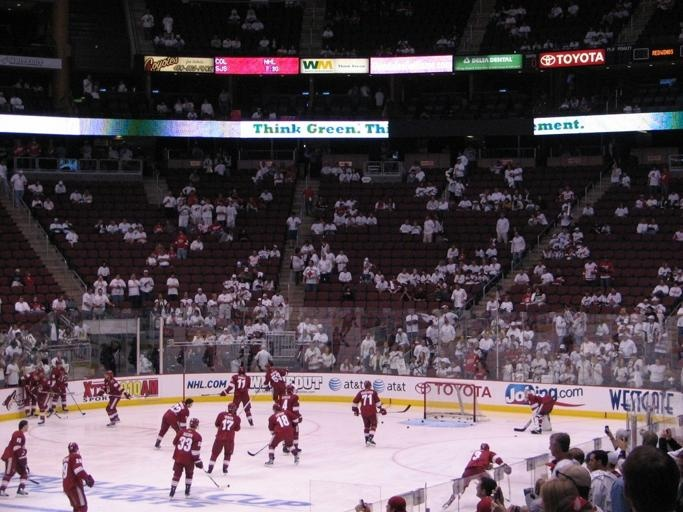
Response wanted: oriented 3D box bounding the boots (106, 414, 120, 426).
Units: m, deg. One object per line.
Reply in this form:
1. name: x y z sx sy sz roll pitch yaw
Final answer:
1. boots: -6.778 4.958 36.549 0.338 0.338 0.452 2 -9 -13

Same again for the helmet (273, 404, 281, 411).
1. helmet: -1.677 4.080 32.684 0.224 0.232 0.405 1 -9 -6

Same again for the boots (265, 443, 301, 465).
1. boots: -1.560 5.334 32.539 0.690 0.573 0.547 4 -12 -25

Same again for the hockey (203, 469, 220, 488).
1. hockey: -3.340 5.798 31.558 0.101 0.618 0.090 -29 -4 -5

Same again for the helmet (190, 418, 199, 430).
1. helmet: -3.665 4.266 30.817 0.182 0.262 0.255 1 -23 -3

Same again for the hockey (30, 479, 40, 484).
1. hockey: -7.786 5.780 31.154 0.253 0.152 0.749 2 -10 -15

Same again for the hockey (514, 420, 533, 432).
1. hockey: 5.302 4.982 35.604 0.525 0.338 0.845 -2 -10 9

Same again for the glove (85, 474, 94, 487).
1. glove: -5.921 5.292 28.774 0.204 0.301 0.417 2 -9 -12

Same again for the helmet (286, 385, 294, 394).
1. helmet: -1.363 3.692 33.603 0.197 0.211 0.171 -1 -1 23

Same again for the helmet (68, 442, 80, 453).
1. helmet: -6.282 4.544 28.800 0.185 0.220 0.303 3 -10 -22

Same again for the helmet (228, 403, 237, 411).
1. helmet: -2.846 4.020 32.130 0.194 0.247 0.495 1 -9 -5

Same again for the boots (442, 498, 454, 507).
1. boots: 2.323 5.383 26.419 0.333 0.104 0.141 -30 -23 -46

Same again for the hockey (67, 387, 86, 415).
1. hockey: -8.341 4.597 38.511 0.164 0.932 0.098 -29 15 -17

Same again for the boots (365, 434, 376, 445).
1. boots: 0.850 5.136 34.114 0.183 0.386 0.379 4 5 33

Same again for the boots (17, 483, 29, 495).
1. boots: -7.945 5.873 30.600 0.247 0.315 0.566 2 -9 -14

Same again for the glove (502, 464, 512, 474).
1. glove: 3.707 4.785 27.246 0.209 0.222 0.191 -1 -9 5
